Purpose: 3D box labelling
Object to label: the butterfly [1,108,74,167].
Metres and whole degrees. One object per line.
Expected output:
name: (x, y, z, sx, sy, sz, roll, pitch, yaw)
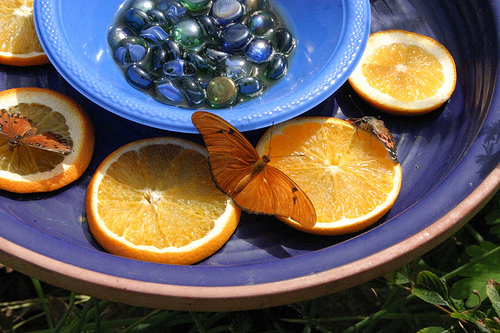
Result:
butterfly: (-0.641, -0.095, 1.418, 0.217, 0.059, 0.124, 33, 45, -6)
